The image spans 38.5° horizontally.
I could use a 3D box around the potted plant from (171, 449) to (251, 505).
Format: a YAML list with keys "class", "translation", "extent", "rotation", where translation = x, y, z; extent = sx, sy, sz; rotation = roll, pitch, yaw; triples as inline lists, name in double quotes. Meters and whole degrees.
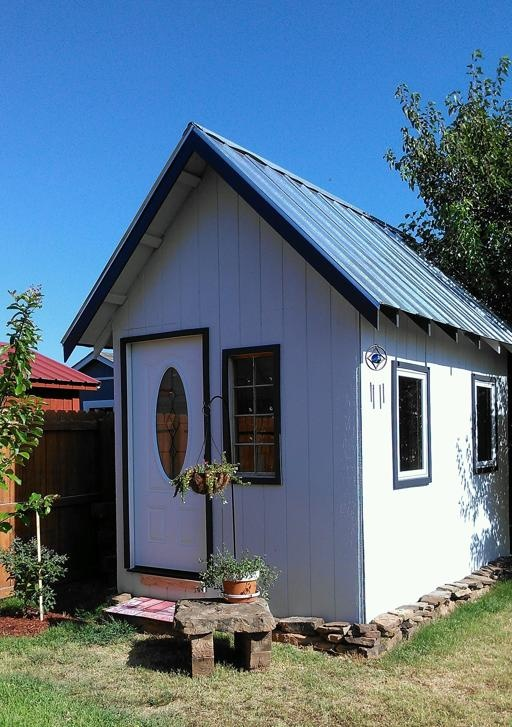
- class: "potted plant"
  translation: [-0.405, 1.004, 6.508]
  extent: [0.553, 0.402, 1.047]
  rotation: [-3, -9, 10]

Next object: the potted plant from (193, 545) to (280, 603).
- class: "potted plant"
  translation: [-0.120, 1.720, 5.987]
  extent: [0.479, 0.299, 0.474]
  rotation: [7, -18, -41]
